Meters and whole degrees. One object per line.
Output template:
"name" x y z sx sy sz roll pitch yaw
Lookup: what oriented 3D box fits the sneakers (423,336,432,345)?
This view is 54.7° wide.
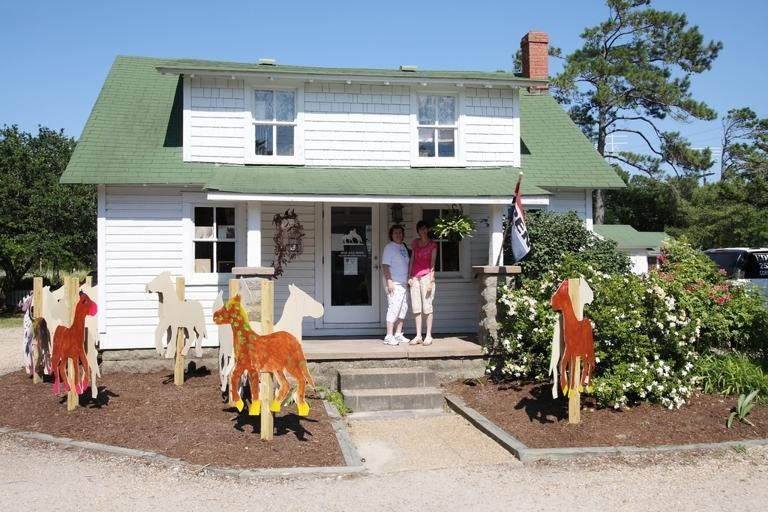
"sneakers" 0.945 1.812 16.027 0.196 0.177 0.330 0 4 -1

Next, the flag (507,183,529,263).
"flag" 2.887 -0.748 15.743 0.389 1.755 0.982 1 3 9

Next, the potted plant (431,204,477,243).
"potted plant" 1.582 -0.719 16.471 0.826 0.638 0.847 -1 0 -20

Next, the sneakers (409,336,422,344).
"sneakers" 0.740 1.834 16.088 0.131 0.135 0.305 -3 -6 38

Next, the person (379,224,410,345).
"person" 0.272 0.611 16.218 0.584 2.576 0.853 0 3 3

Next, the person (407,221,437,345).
"person" 0.857 0.570 16.433 0.565 2.692 1.336 0 3 2

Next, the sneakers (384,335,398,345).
"sneakers" 0.162 1.835 16.094 0.338 0.160 0.135 1 0 39
